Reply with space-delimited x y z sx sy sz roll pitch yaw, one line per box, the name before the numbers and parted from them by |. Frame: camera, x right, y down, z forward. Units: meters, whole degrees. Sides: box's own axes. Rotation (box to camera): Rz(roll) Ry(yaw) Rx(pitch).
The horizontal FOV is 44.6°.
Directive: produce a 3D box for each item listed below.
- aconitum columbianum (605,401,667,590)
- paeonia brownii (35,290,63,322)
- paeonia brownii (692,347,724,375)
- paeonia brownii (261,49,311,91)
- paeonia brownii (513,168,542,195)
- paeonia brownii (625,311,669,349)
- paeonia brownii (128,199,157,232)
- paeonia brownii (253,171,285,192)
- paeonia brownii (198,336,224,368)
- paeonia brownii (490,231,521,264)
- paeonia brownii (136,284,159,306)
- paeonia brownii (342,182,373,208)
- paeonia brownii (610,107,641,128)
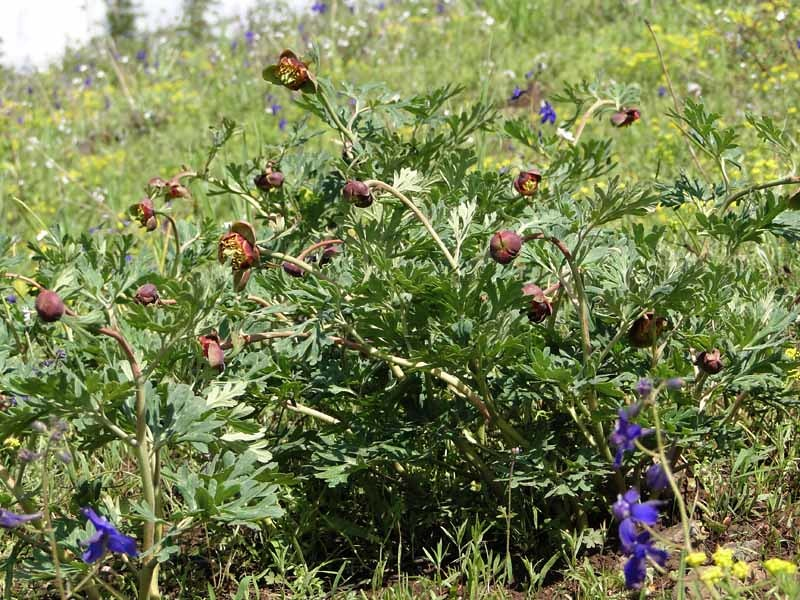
aconitum columbianum | 0.605 0.546 2.558 0.147 0.633 0.167 1 7 9
paeonia brownii | -0.974 0.027 2.750 0.061 0.071 0.089 -24 -11 3
paeonia brownii | 0.971 0.185 3.024 0.100 0.081 0.078 -18 10 -21
paeonia brownii | -0.351 -0.692 2.971 0.132 0.080 0.165 1 -1 22
paeonia brownii | 0.424 -0.387 3.203 0.061 0.062 0.082 -3 26 -15
paeonia brownii | 0.761 0.094 3.011 0.045 0.095 0.117 34 72 34
paeonia brownii | -0.871 -0.279 3.295 0.065 0.082 0.124 -16 23 -22
paeonia brownii | -0.444 -0.402 3.285 0.082 0.043 0.071 -13 45 36
paeonia brownii | -0.574 0.156 2.948 0.040 0.070 0.121 -3 8 -4
paeonia brownii | 0.305 -0.153 2.853 0.055 0.063 0.080 -29 4 18
paeonia brownii | -0.796 -0.025 3.053 0.052 0.047 0.068 -1 23 2
paeonia brownii | -0.135 -0.319 2.940 0.064 0.043 0.082 -37 61 -27
paeonia brownii | 0.752 -0.608 3.303 0.097 0.043 0.093 -24 7 28
